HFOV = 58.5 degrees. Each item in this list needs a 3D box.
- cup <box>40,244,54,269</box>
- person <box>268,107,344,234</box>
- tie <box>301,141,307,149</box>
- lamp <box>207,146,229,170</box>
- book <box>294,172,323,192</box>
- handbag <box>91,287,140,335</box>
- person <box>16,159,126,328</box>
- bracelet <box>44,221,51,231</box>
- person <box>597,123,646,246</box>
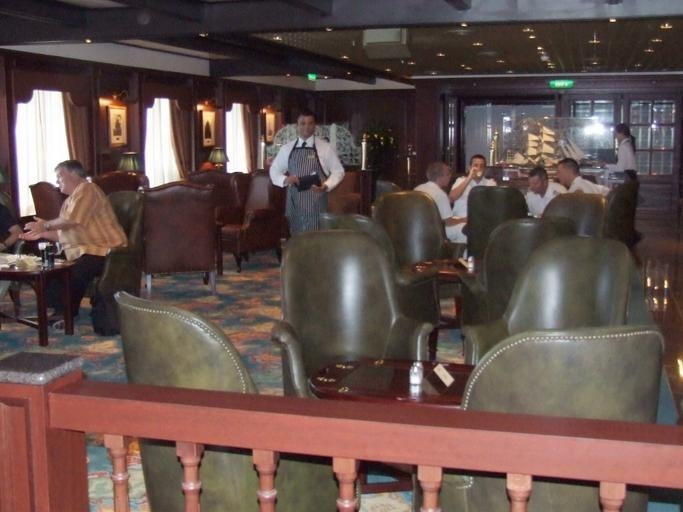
[{"bbox_3d":[-2.391,-0.020,4.982,0.095,0.169,0.218,-7,13,-29],"label":"cup"},{"bbox_3d":[-0.302,-0.757,5.541,0.663,1.088,0.526,-2,11,-5],"label":"person"},{"bbox_3d":[-0.339,-1.026,5.556,0.037,0.059,0.020,3,-4,4],"label":"tie"},{"bbox_3d":[-2.352,-1.950,11.935,0.413,0.471,0.417,-2,16,-5],"label":"lamp"},{"bbox_3d":[-0.287,-0.664,5.436,0.222,0.152,0.106,-2,11,-5],"label":"book"},{"bbox_3d":[-2.037,0.481,5.329,0.267,0.372,0.338,-5,12,-20],"label":"handbag"},{"bbox_3d":[-2.312,-0.157,5.418,0.784,1.383,0.405,-4,11,-17],"label":"person"},{"bbox_3d":[-2.549,-0.278,5.317,0.059,0.100,0.086,0,-2,-15],"label":"bracelet"},{"bbox_3d":[5.063,-1.348,11.097,0.513,2.030,0.555,3,3,43],"label":"person"}]
